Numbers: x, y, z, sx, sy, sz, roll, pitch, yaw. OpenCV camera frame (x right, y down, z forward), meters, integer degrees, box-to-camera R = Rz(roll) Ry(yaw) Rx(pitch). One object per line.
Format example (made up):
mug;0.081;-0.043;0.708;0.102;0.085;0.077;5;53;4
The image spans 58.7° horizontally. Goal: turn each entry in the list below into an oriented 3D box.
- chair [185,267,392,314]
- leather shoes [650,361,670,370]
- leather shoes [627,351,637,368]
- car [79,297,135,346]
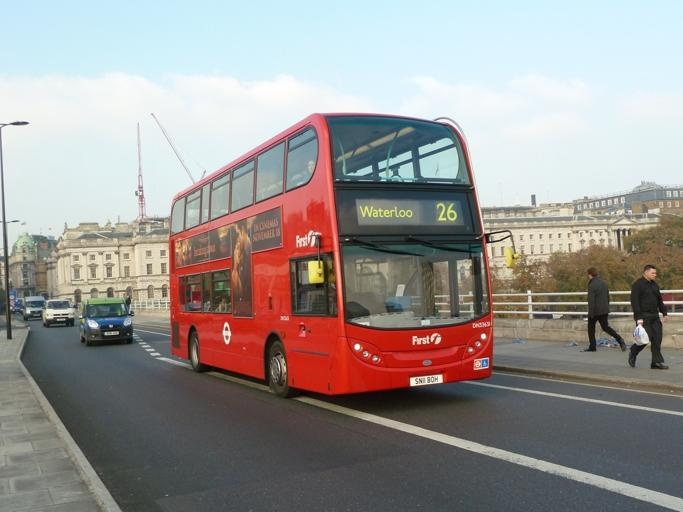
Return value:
chair;-0.912;0.618;10.795;1.000;0.937;3.816;0;-2;-35
leather shoes;6.184;2.131;11.766;0.348;0.159;0.129;-2;1;3
leather shoes;5.932;2.111;12.355;0.117;0.354;0.244;2;-9;9
car;-10.066;2.799;25.918;1.867;1.898;2.075;-1;-2;-29
